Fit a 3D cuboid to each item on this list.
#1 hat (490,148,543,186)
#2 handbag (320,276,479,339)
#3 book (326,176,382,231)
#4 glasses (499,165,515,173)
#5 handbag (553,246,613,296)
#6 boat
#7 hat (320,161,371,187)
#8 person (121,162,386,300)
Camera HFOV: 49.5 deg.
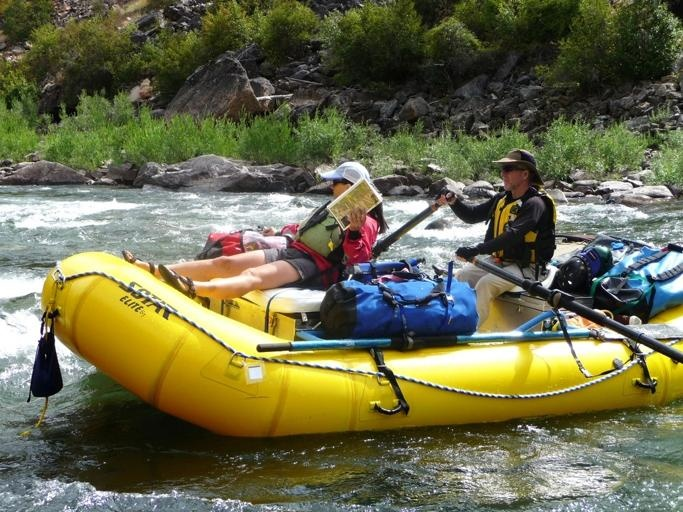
[{"bbox_3d":[1.613,-0.881,6.889,0.350,0.180,0.404,14,-6,28],"label":"hat"},{"bbox_3d":[0.453,0.382,5.646,0.956,0.315,0.525,1,-4,-14],"label":"handbag"},{"bbox_3d":[0.113,-0.436,6.267,0.472,0.433,0.208,-1,8,-12],"label":"book"},{"bbox_3d":[1.549,-0.828,6.874,0.031,0.093,0.093,-47,20,-23],"label":"glasses"},{"bbox_3d":[2.237,0.094,6.870,0.550,0.226,0.384,-40,54,-16],"label":"handbag"},{"bbox_3d":[0.217,0.822,5.846,3.921,0.667,1.940,3,-2,-15],"label":"boat"},{"bbox_3d":[0.054,-0.727,6.532,0.390,0.115,0.224,1,3,2],"label":"hat"},{"bbox_3d":[-0.630,-0.282,6.340,1.985,0.761,1.198,-3,7,-23],"label":"person"}]
